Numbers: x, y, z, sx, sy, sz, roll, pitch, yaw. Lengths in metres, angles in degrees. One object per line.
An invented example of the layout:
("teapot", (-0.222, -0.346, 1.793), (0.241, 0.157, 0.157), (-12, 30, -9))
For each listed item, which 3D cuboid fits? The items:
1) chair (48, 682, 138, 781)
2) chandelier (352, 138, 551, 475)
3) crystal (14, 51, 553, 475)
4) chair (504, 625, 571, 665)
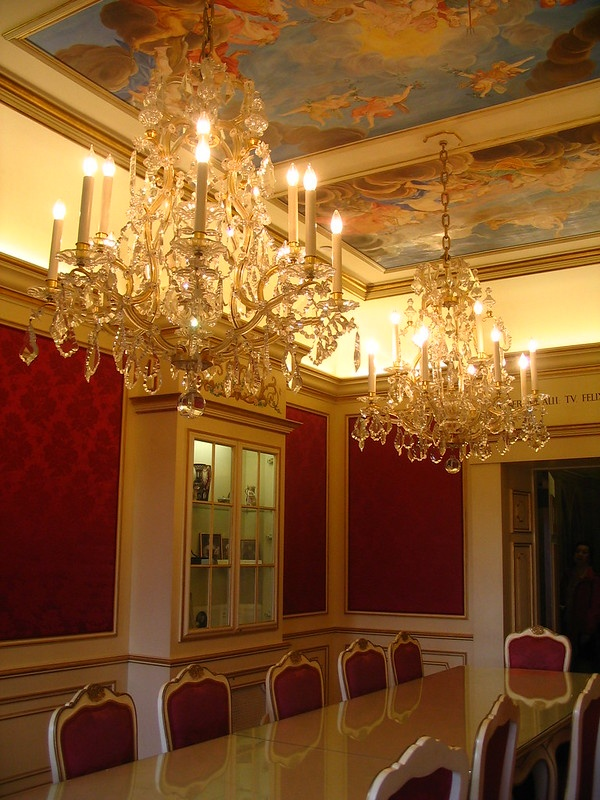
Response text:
("chair", (-0.673, 1.083, 2.091), (0.122, 0.254, 0.400), (-1, -6, 12))
("chandelier", (1.130, -0.738, 4.503), (1.266, 2.596, 1.214), (-17, -30, 34))
("crystal", (-0.068, -0.749, 3.377), (0.698, 1.467, 1.928), (-19, -30, 36))
("chair", (1.757, 1.865, 4.745), (0.456, 0.299, 0.311), (-2, -7, 20))
